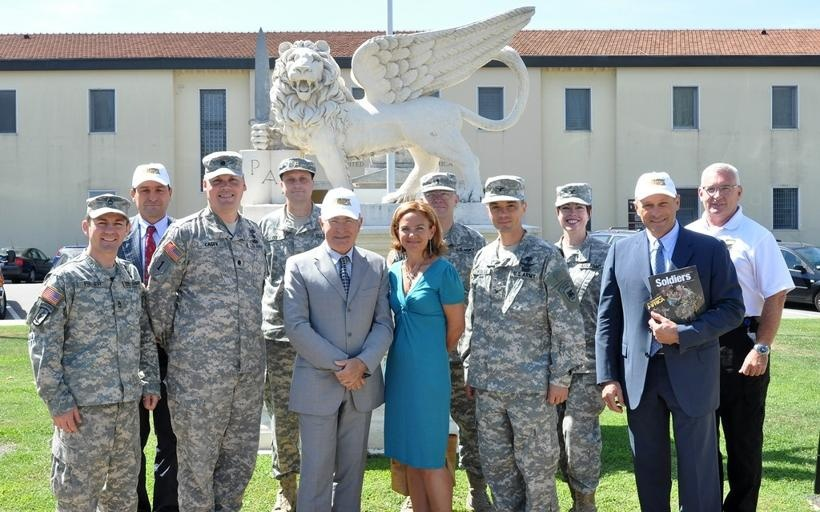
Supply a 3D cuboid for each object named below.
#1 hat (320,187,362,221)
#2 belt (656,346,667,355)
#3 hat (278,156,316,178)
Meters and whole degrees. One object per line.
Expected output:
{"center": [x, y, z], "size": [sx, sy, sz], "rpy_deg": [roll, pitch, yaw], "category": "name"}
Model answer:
{"center": [-0.964, -0.781, 14.818], "size": [0.533, 0.329, 0.721], "rpy_deg": [7, 15, 6], "category": "hat"}
{"center": [3.450, 1.318, 14.351], "size": [0.139, 0.103, 0.030], "rpy_deg": [-1, 2, 2], "category": "belt"}
{"center": [-1.715, -1.323, 15.573], "size": [0.490, 0.230, 0.587], "rpy_deg": [-1, 6, -6], "category": "hat"}
